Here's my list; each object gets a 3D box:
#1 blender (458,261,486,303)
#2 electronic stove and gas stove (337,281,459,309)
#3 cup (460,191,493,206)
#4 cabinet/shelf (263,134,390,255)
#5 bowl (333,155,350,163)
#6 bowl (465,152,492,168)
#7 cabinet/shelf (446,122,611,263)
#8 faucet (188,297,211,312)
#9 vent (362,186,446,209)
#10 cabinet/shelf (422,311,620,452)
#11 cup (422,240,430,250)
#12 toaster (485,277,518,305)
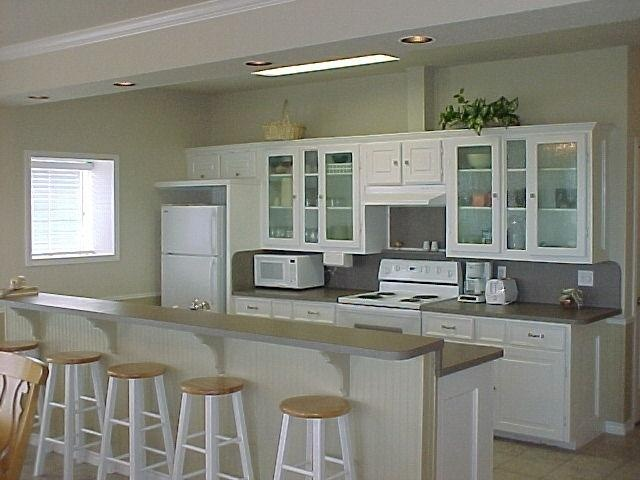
[{"bbox_3d":[1.473,0.401,5.118,0.254,0.369,0.278,1,4,19],"label":"blender"},{"bbox_3d":[0.789,0.546,5.314,1.017,0.169,0.698,1,4,31],"label":"electronic stove and gas stove"},{"bbox_3d":[1.475,-0.378,4.995,0.207,0.085,0.148,1,3,39],"label":"cup"},{"bbox_3d":[0.120,-0.500,5.779,1.403,1.184,0.527,0,-1,35],"label":"cabinet/shelf"},{"bbox_3d":[0.236,-0.871,5.678,0.116,0.101,0.030,3,1,20],"label":"bowl"},{"bbox_3d":[1.492,-0.739,4.961,0.153,0.085,0.150,1,3,0],"label":"bowl"},{"bbox_3d":[1.928,-0.445,4.771,1.344,1.144,0.472,1,0,30],"label":"cabinet/shelf"},{"bbox_3d":[-1.366,0.723,5.993,0.268,0.122,0.080,1,4,18],"label":"faucet"},{"bbox_3d":[0.812,-0.449,5.320,0.333,0.201,0.829,-4,5,-42],"label":"vent"},{"bbox_3d":[1.863,0.853,4.970,1.751,1.414,1.029,0,-1,32],"label":"cabinet/shelf"},{"bbox_3d":[1.107,0.057,5.539,0.087,0.134,0.082,0,10,0],"label":"cup"},{"bbox_3d":[1.684,0.485,4.919,0.203,0.229,0.277,-3,-6,41],"label":"toaster"}]
